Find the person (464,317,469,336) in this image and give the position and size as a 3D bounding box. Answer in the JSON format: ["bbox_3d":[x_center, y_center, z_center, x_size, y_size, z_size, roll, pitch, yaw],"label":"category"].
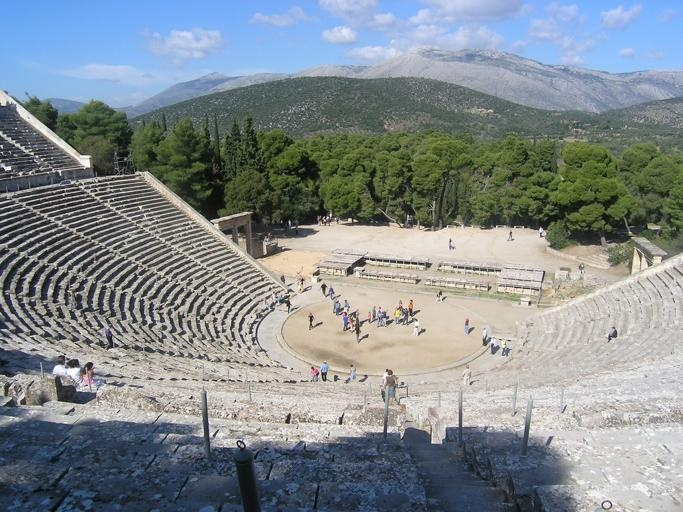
[{"bbox_3d":[8.319,4.651,33.160,0.440,1.079,1.881,11,-6,15],"label":"person"}]

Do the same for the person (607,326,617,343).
[{"bbox_3d":[14.834,4.283,27.191,0.445,0.814,0.563,9,-8,24],"label":"person"}]

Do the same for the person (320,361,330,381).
[{"bbox_3d":[-0.946,6.030,26.283,0.508,0.949,1.565,12,-7,1],"label":"person"}]

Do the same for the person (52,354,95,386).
[{"bbox_3d":[-9.526,3.958,17.545,1.458,0.627,1.561,12,5,-28],"label":"person"}]

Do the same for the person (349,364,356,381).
[{"bbox_3d":[0.578,6.159,26.388,0.388,0.841,0.792,12,-7,3],"label":"person"}]
